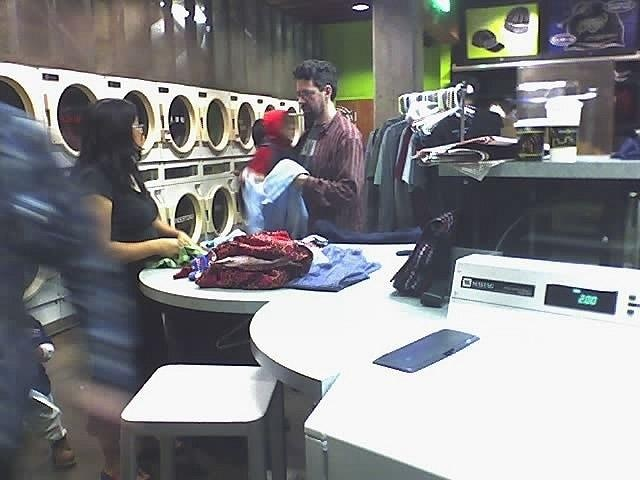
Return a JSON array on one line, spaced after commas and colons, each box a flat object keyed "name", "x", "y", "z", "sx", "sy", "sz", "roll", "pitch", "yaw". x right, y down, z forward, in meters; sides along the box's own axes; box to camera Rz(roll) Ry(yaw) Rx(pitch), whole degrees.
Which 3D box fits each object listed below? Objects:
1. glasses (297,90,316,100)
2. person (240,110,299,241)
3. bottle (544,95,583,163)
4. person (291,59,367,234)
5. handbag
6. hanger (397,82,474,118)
[{"name": "glasses", "x": -0.085, "y": -0.902, "z": 3.075, "sx": 0.070, "sy": 0.043, "sz": 0.084, "roll": -4, "pitch": 31, "yaw": 1}, {"name": "person", "x": -0.334, "y": -0.447, "z": 3.274, "sx": 0.387, "sy": 0.749, "sz": 0.663, "roll": -4, "pitch": 14, "yaw": -8}, {"name": "bottle", "x": 0.760, "y": -0.345, "z": 1.549, "sx": 0.093, "sy": 0.201, "sz": 0.162, "roll": 6, "pitch": 16, "yaw": 29}, {"name": "person", "x": 0.055, "y": -0.578, "z": 3.118, "sx": 0.432, "sy": 1.060, "sz": 0.318, "roll": -3, "pitch": 14, "yaw": -3}, {"name": "handbag", "x": 0.287, "y": 0.032, "z": 1.602, "sx": 0.055, "sy": 0.243, "sz": 0.237, "roll": 24, "pitch": 25, "yaw": 18}, {"name": "hanger", "x": 0.576, "y": -0.720, "z": 2.509, "sx": 0.328, "sy": 0.142, "sz": 0.443, "roll": 6, "pitch": 16, "yaw": 37}]
